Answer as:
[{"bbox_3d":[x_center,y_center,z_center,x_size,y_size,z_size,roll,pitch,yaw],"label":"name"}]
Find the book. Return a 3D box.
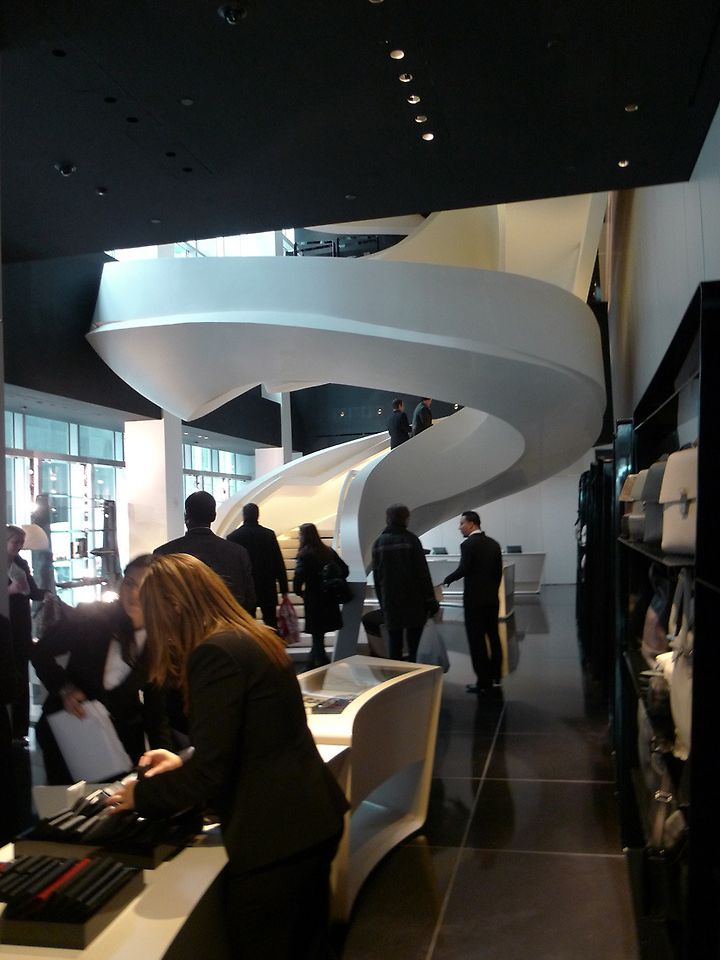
[{"bbox_3d":[-0.868,0.844,2.355,0.301,0.404,0.136,1,3,25],"label":"book"}]

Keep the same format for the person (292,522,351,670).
[{"bbox_3d":[-0.382,1.059,6.628,0.430,1.397,0.394,-6,16,-18],"label":"person"}]
